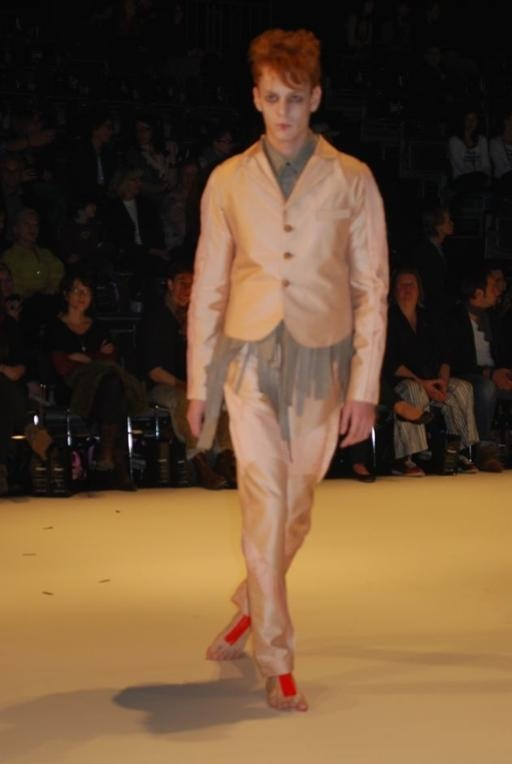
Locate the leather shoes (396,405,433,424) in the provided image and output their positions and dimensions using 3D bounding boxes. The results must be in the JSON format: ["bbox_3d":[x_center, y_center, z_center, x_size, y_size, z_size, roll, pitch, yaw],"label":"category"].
[{"bbox_3d":[0.893,0.177,4.638,0.102,0.074,0.249,-4,14,-44],"label":"leather shoes"}]

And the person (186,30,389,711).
[{"bbox_3d":[0.066,0.049,1.526,0.394,1.081,0.256,-1,3,-5],"label":"person"}]
